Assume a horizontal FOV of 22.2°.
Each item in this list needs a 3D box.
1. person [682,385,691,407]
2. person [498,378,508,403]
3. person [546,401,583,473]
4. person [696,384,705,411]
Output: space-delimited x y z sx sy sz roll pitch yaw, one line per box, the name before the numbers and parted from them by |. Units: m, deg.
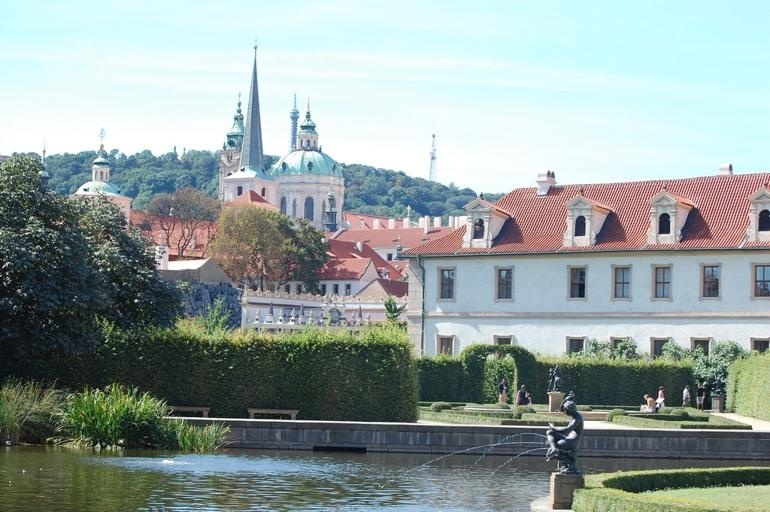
person | 14.245 6.589 93.666 0.395 1.017 1.101 1 -5 8
person | 5.686 6.481 95.725 0.455 1.188 1.238 1 -5 3
person | 6.327 6.249 69.944 1.183 2.703 1.457 1 -5 4
person | 15.054 6.681 94.549 0.381 1.230 1.245 0 -5 10
